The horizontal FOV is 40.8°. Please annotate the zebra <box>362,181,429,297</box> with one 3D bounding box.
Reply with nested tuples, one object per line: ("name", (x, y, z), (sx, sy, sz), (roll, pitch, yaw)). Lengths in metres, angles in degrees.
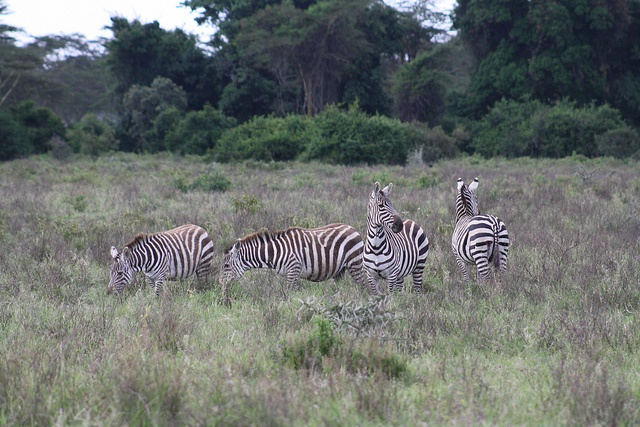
("zebra", (3.907, 1.938, 47.270), (2.596, 7.315, 8.285), (2, 2, 20))
